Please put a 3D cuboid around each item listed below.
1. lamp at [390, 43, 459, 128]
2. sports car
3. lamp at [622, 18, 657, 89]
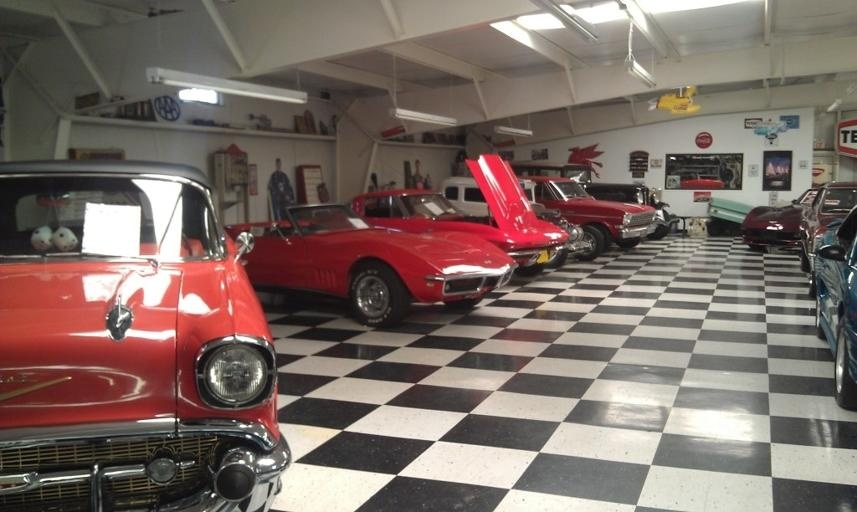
[{"bbox_3d":[-0.148,-3.545,11.582,1.333,1.337,3.457,-2,13,-3],"label":"lamp"},{"bbox_3d":[0.091,-0.443,7.953,3.557,2.067,5.361,6,15,30],"label":"sports car"},{"bbox_3d":[3.869,-3.682,9.718,0.614,0.972,3.652,4,13,21],"label":"lamp"}]
